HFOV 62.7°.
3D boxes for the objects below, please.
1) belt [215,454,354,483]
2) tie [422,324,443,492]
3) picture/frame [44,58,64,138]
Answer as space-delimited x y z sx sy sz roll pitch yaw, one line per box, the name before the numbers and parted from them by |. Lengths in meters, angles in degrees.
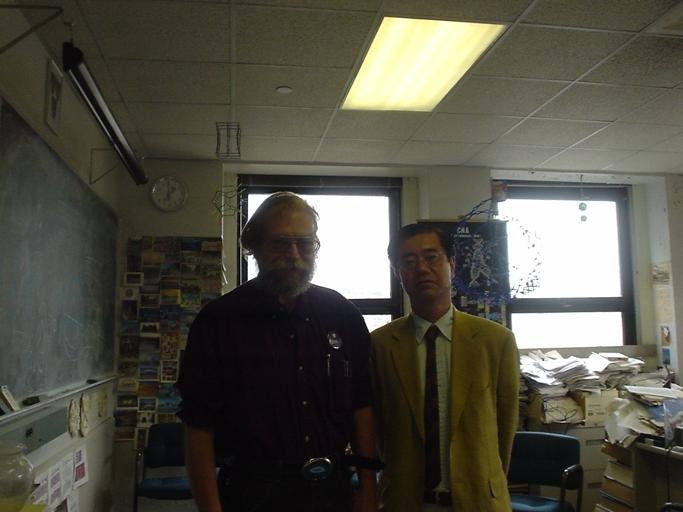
belt | -0.223 0.806 2.129 0.503 0.084 0.093 -2 -8 0
tie | 0.408 0.673 2.512 0.070 0.720 0.096 -5 -8 23
picture/frame | -1.813 -0.994 3.500 0.053 0.442 0.292 1 -8 -16
